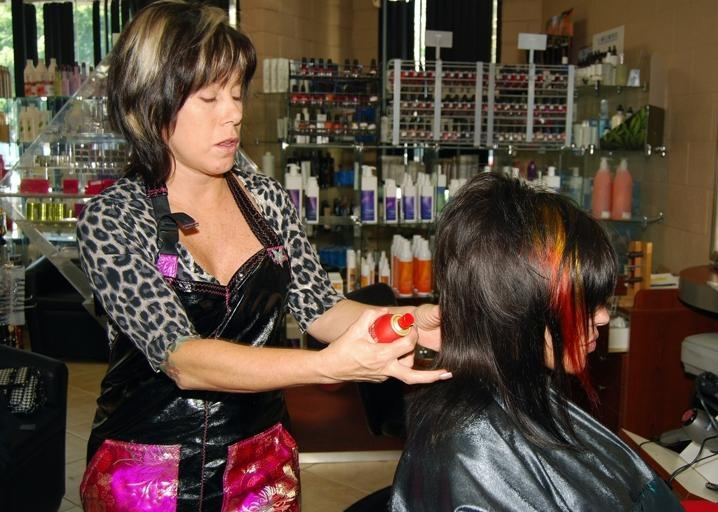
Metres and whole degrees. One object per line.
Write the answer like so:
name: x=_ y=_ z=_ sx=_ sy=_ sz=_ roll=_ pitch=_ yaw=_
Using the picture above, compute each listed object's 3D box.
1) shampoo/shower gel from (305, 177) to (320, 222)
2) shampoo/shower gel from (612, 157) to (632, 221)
shampoo/shower gel: x=-0.292 y=-0.349 z=3.665 sx=0.090 sy=0.306 sz=0.098 roll=-3 pitch=34 yaw=-10
shampoo/shower gel: x=1.690 y=-0.412 z=3.800 sx=0.107 sy=0.391 sz=0.117 roll=1 pitch=3 yaw=1
